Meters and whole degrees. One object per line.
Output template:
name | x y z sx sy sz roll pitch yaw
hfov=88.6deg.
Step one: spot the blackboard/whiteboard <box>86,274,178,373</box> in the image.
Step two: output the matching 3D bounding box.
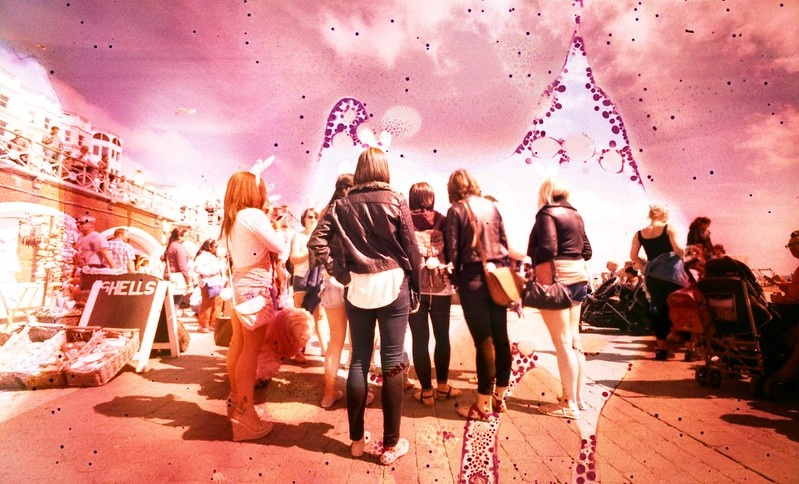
blackboard/whiteboard | -4.479 1.285 6.873 1.190 1.525 1.085 1 -2 -1
